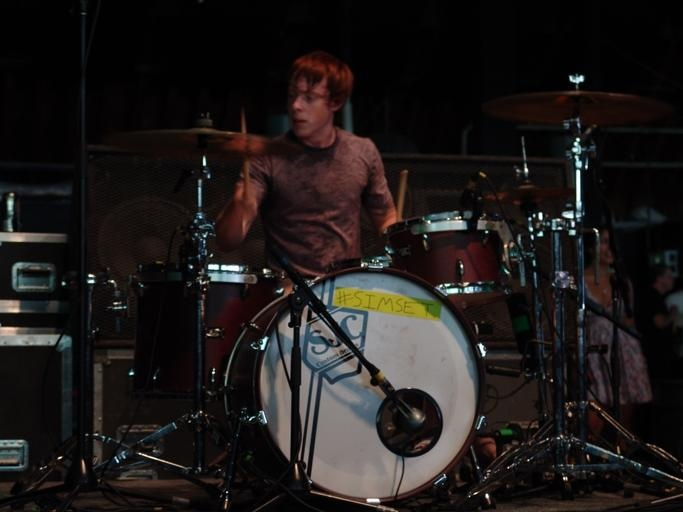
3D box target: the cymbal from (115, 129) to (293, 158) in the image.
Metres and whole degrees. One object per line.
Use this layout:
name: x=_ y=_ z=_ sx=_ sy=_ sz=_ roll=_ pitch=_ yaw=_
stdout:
cymbal: x=-0.808 y=-0.652 z=6.868 sx=0.428 sy=0.061 sz=0.412 roll=8 pitch=-8 yaw=-30

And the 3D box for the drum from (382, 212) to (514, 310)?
drum: x=0.650 y=0.007 z=7.085 sx=0.638 sy=0.342 sz=0.598 roll=-3 pitch=-18 yaw=-1

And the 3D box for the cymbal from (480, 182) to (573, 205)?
cymbal: x=1.239 y=-0.419 z=7.906 sx=0.580 sy=0.179 sz=0.600 roll=-1 pitch=-4 yaw=7

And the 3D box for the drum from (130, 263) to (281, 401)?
drum: x=-0.882 y=0.474 z=7.027 sx=0.888 sy=0.651 sz=0.834 roll=1 pitch=-4 yaw=0

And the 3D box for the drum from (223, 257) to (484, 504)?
drum: x=0.080 y=0.720 z=6.682 sx=1.217 sy=1.098 sz=0.685 roll=-23 pitch=-2 yaw=-10
